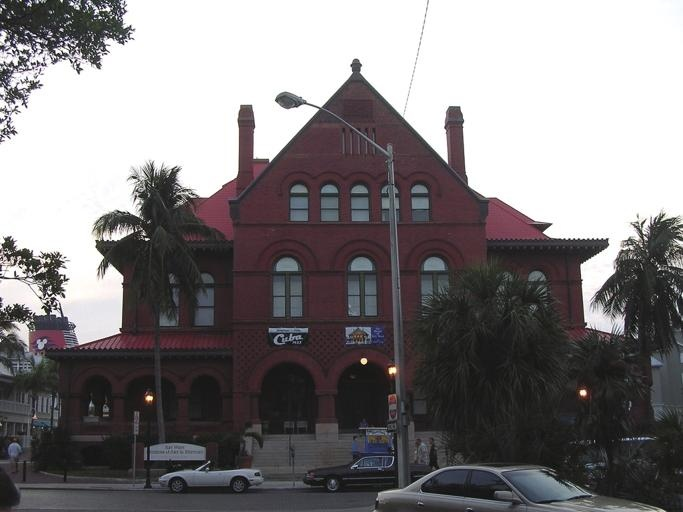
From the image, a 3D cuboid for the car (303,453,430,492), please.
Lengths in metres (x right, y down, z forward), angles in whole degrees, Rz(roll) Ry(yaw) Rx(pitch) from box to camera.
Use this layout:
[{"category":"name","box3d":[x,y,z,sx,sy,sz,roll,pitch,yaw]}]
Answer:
[{"category":"car","box3d":[0.904,8.660,36.923,4.529,1.327,2.164,2,-16,0]}]

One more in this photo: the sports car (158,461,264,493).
[{"category":"sports car","box3d":[-5.150,8.973,37.088,3.275,1.116,1.585,4,-19,0]}]

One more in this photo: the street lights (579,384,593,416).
[{"category":"street lights","box3d":[7.901,4.626,29.815,0.356,0.938,0.214,-5,-14,16]}]
